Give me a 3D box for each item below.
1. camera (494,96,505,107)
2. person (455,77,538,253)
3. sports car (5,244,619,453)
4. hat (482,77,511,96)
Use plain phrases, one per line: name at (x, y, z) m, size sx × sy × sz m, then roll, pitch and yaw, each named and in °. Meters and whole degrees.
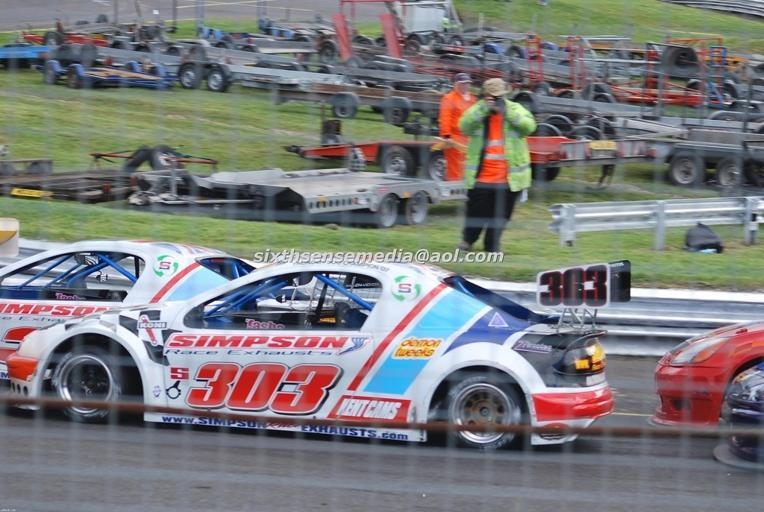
camera at (1.361, -1.758, 14.798) m, size 0.119 × 0.118 × 0.030 m, roll -4°, pitch 14°, yaw -27°
person at (1.314, -1.043, 15.056) m, size 0.770 × 1.998 × 0.536 m, roll 7°, pitch 14°, yaw 21°
sports car at (-0.743, 0.818, 12.474) m, size 5.501 × 0.899 × 2.185 m, roll 2°, pitch 3°, yaw 8°
hat at (1.333, -1.923, 14.860) m, size 0.257 × 0.113 × 0.301 m, roll 7°, pitch 14°, yaw 34°
